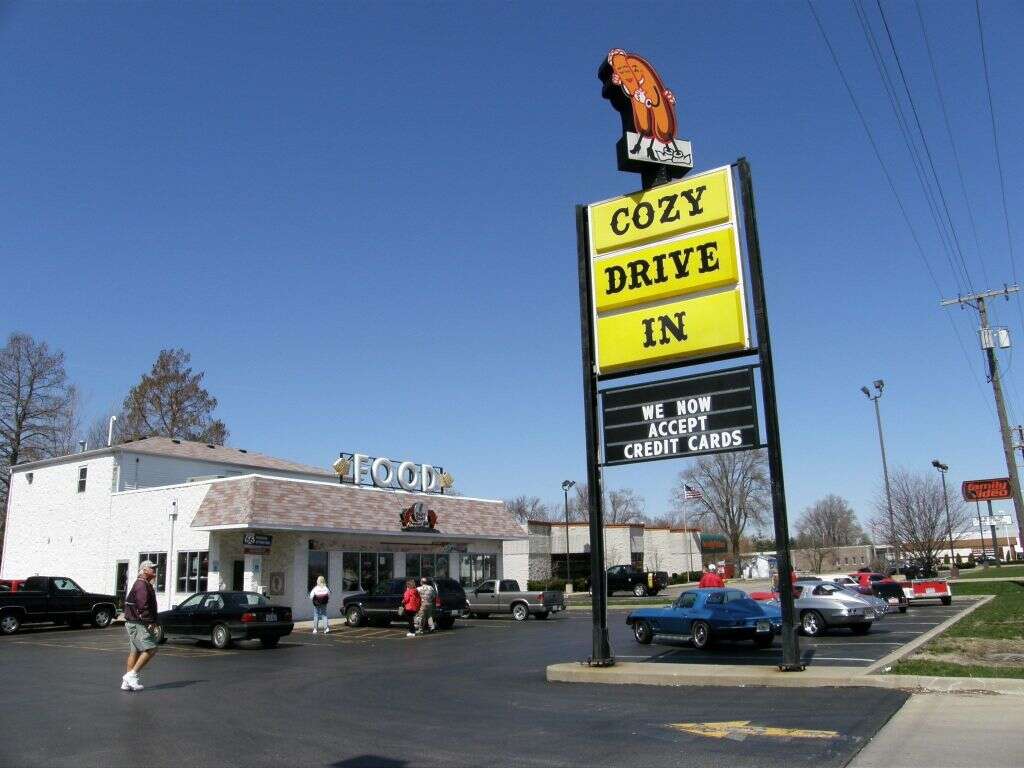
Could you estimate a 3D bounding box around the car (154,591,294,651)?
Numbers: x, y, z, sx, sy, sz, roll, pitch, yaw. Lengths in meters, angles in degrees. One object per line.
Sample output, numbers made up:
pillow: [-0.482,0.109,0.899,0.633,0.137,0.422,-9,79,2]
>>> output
car: [-8.701,7.130,25.780,3.548,1.639,1.083,-7,-16,15]

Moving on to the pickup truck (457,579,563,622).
pickup truck: [0.193,9.553,37.444,3.738,1.435,1.846,-2,-10,32]

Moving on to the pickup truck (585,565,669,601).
pickup truck: [7.087,12.279,50.918,4.182,1.614,2.361,-2,-8,31]

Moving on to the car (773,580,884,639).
car: [9.352,6.604,25.063,3.277,1.085,1.918,0,-8,27]

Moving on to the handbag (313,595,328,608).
handbag: [-6.987,7.933,31.044,0.459,0.308,0.466,4,-8,-31]

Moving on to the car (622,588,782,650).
car: [5.166,6.283,23.194,1.901,1.099,3.456,10,-13,-41]
